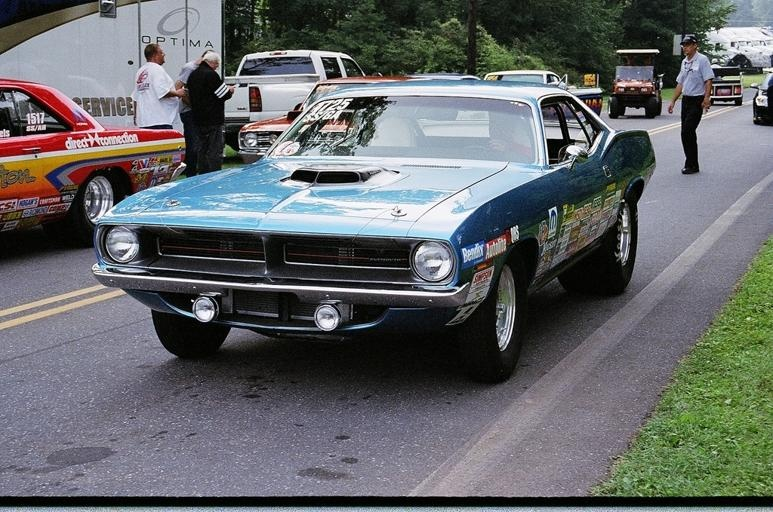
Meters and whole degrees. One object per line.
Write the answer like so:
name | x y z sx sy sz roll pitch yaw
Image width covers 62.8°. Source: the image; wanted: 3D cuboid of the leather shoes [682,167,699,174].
leather shoes | 7.044 -1.981 14.685 0.456 0.157 0.145 3 10 -19
